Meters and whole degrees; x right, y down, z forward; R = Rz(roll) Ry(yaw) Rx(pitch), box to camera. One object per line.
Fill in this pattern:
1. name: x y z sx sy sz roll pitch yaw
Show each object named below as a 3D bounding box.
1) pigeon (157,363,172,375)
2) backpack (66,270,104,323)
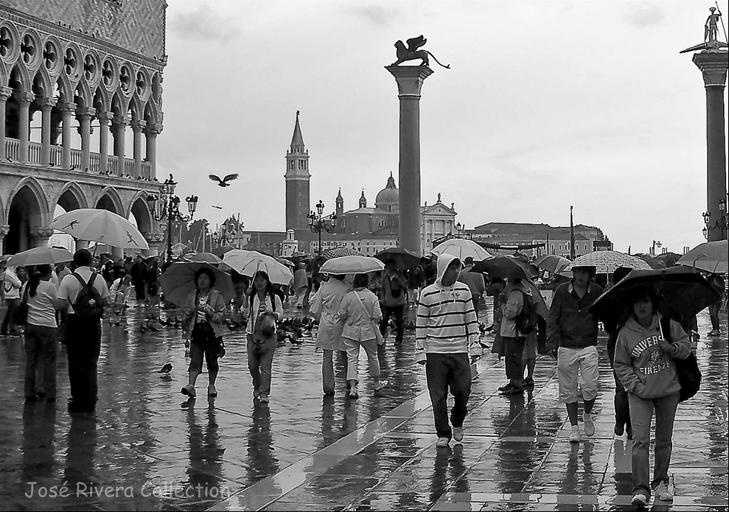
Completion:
1. pigeon: -3.384 1.875 19.327 0.230 0.259 0.291 1 -17 -2
2. backpack: -3.912 0.566 16.088 0.362 0.642 0.336 -3 7 -1
